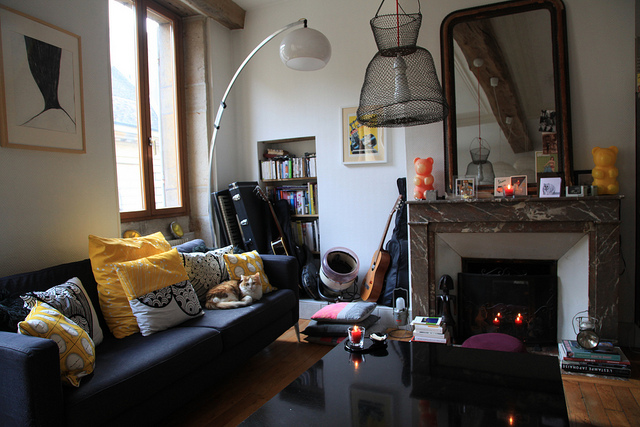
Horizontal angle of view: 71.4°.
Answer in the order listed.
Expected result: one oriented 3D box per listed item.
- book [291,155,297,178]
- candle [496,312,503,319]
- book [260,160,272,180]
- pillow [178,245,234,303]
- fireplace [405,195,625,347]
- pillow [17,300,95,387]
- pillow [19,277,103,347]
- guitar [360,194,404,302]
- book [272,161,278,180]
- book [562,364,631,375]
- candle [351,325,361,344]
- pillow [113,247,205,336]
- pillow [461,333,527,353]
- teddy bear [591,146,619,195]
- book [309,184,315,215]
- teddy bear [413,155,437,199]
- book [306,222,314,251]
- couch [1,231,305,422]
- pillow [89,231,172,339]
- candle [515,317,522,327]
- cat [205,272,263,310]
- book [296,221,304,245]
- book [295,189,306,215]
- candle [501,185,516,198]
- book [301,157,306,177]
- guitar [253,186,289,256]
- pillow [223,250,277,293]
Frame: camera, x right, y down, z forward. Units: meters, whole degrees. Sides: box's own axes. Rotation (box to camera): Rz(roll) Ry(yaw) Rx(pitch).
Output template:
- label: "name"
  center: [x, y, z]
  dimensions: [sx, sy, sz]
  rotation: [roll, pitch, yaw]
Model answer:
- label: "book"
  center: [-0.318, -0.568, 5.518]
  dimensions: [0.062, 0.249, 0.087]
  rotation: [-4, 6, 1]
- label: "candle"
  center: [1.733, 0.978, 4.283]
  dimensions: [0.046, 0.053, 0.046]
  rotation: [-10, 23, -15]
- label: "book"
  center: [-0.673, -0.548, 5.610]
  dimensions: [0.172, 0.244, 0.053]
  rotation: [0, 7, 35]
- label: "pillow"
  center: [-1.026, 0.558, 3.976]
  dimensions: [0.130, 0.296, 0.460]
  rotation: [-24, -7, 24]
- label: "fireplace"
  center: [1.858, 0.573, 4.282]
  dimensions: [1.783, 1.594, 0.624]
  rotation: [-1, 4, 30]
- label: "pillow"
  center: [-1.766, 0.843, 3.054]
  dimensions: [0.398, 0.506, 0.640]
  rotation: [1, 11, -19]
- label: "pillow"
  center: [-1.809, 0.686, 3.067]
  dimensions: [0.169, 0.450, 0.471]
  rotation: [-37, -15, 12]
- label: "guitar"
  center: [0.687, 0.374, 4.853]
  dimensions: [0.523, 1.125, 0.419]
  rotation: [-4, 6, 0]
- label: "book"
  center: [-0.563, -0.539, 5.564]
  dimensions: [0.042, 0.176, 0.173]
  rotation: [-1, 6, -12]
- label: "book"
  center: [2.307, 1.295, 3.705]
  dimensions: [0.486, 0.058, 0.018]
  rotation: [-2, 6, 17]
- label: "candle"
  center: [0.273, 0.913, 3.389]
  dimensions: [0.098, 0.161, 0.099]
  rotation: [-1, 4, 1]
- label: "pillow"
  center: [-1.289, 0.642, 3.616]
  dimensions: [0.338, 0.577, 0.640]
  rotation: [1, 6, 28]
- label: "pillow"
  center: [1.351, 1.012, 3.460]
  dimensions: [0.445, 0.072, 0.311]
  rotation: [-5, 6, -7]
- label: "teddy bear"
  center: [2.576, -0.384, 4.000]
  dimensions: [0.184, 0.415, 0.095]
  rotation: [0, 7, 33]
- label: "book"
  center: [-0.094, -0.171, 5.451]
  dimensions: [0.058, 0.367, 0.038]
  rotation: [-5, 6, -4]
- label: "teddy bear"
  center: [1.060, -0.364, 4.434]
  dimensions: [0.239, 0.421, 0.190]
  rotation: [-3, 6, 15]
- label: "book"
  center: [-0.118, 0.281, 5.479]
  dimensions: [0.098, 0.293, 0.298]
  rotation: [-6, 5, -1]
- label: "couch"
  center: [-1.338, 0.742, 3.498]
  dimensions: [1.076, 1.141, 2.078]
  rotation: [-1, 7, 32]
- label: "pillow"
  center: [-1.496, 0.595, 3.477]
  dimensions: [0.326, 0.625, 0.714]
  rotation: [-3, 3, 10]
- label: "candle"
  center: [1.899, 1.038, 4.234]
  dimensions: [0.066, 0.115, 0.067]
  rotation: [0, -3, 7]
- label: "cat"
  center: [-0.737, 0.671, 3.929]
  dimensions: [0.369, 0.173, 0.283]
  rotation: [-4, -1, -17]
- label: "book"
  center: [-0.242, 0.234, 5.509]
  dimensions: [0.050, 0.214, 0.211]
  rotation: [-2, 13, -9]
- label: "book"
  center: [-0.230, -0.137, 5.497]
  dimensions: [0.119, 0.297, 0.058]
  rotation: [-5, 6, -9]
- label: "candle"
  center: [1.798, -0.205, 4.213]
  dimensions: [0.108, 0.097, 0.120]
  rotation: [-1, -11, 10]
- label: "book"
  center: [-0.196, -0.562, 5.461]
  dimensions: [0.058, 0.230, 0.054]
  rotation: [-2, 6, 17]
- label: "guitar"
  center: [-0.551, 0.080, 5.173]
  dimensions: [0.294, 0.803, 0.451]
  rotation: [-8, 7, -31]
- label: "pillow"
  center: [-0.684, 0.540, 4.192]
  dimensions: [0.405, 0.393, 0.119]
  rotation: [1, -33, -40]
